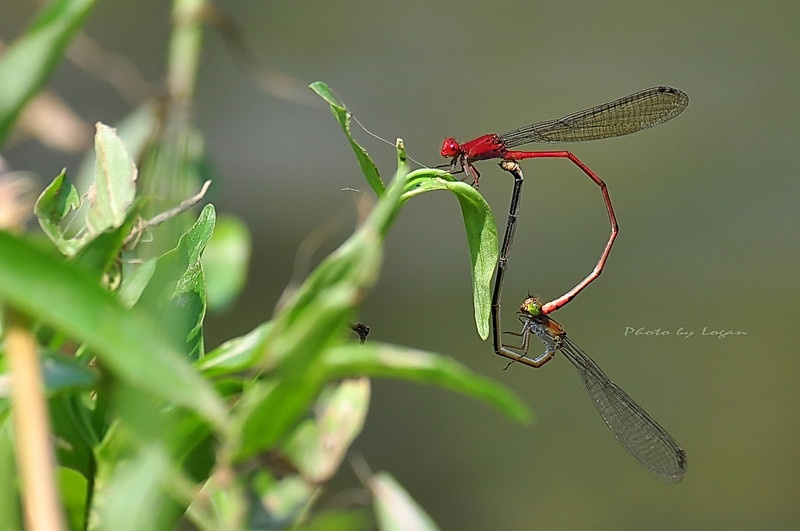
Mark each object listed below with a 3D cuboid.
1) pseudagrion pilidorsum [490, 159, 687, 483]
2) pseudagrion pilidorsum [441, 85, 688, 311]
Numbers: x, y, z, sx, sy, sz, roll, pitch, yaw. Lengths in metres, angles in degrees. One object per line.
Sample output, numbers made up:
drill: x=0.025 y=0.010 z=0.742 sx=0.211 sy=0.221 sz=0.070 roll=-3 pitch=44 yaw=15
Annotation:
pseudagrion pilidorsum: x=0.274 y=0.098 z=1.208 sx=0.466 sy=0.162 sz=0.260 roll=46 pitch=-122 yaw=-20
pseudagrion pilidorsum: x=0.180 y=-0.113 z=1.210 sx=0.476 sy=0.164 sz=0.215 roll=-5 pitch=-33 yaw=13
